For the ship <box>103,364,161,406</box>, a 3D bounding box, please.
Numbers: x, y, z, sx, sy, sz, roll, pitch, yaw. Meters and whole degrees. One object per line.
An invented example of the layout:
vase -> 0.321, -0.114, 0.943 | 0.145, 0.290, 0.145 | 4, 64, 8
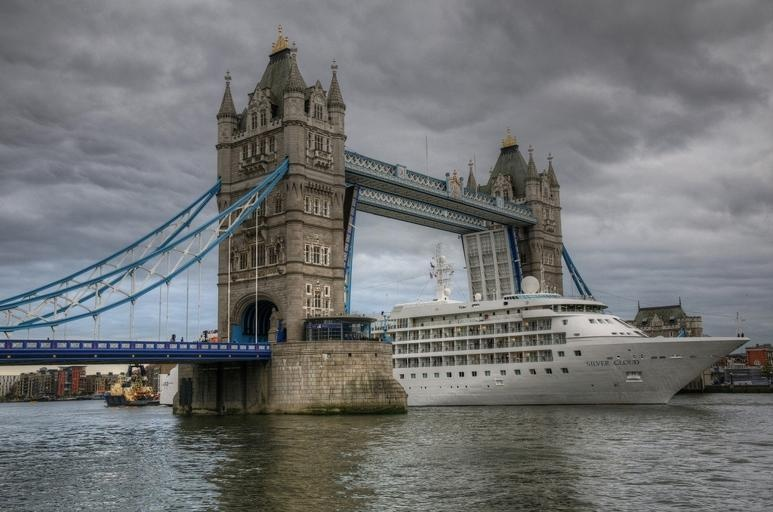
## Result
ship -> -48.372, 24.369, 150.559 | 7.361, 8.298, 29.739 | 2, -11, -18
